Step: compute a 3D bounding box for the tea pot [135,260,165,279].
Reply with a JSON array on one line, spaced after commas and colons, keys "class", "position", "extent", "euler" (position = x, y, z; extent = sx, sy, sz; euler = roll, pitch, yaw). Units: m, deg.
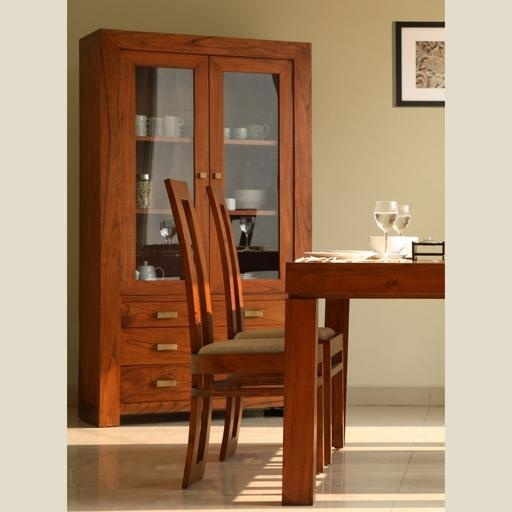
[{"class": "tea pot", "position": [-0.522, 0.074, 2.950], "extent": [0.119, 0.101, 0.076], "euler": [10, -14, -35]}]

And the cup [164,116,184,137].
[{"class": "cup", "position": [-0.410, -0.658, 2.995], "extent": [0.105, 0.096, 0.084], "euler": [1, -1, -6]}]

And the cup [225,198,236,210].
[{"class": "cup", "position": [-0.126, -0.270, 3.059], "extent": [0.057, 0.056, 0.052], "euler": [0, 3, -23]}]

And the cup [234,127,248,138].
[{"class": "cup", "position": [-0.077, -0.643, 3.070], "extent": [0.051, 0.042, 0.056], "euler": [-1, 0, 0]}]

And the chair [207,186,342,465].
[{"class": "chair", "position": [0.011, 0.262, 2.104], "extent": [0.516, 1.088, 0.413], "euler": [-3, 2, 27]}]
